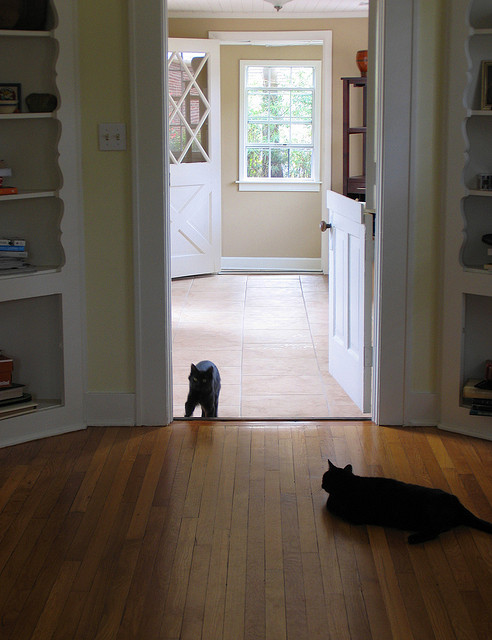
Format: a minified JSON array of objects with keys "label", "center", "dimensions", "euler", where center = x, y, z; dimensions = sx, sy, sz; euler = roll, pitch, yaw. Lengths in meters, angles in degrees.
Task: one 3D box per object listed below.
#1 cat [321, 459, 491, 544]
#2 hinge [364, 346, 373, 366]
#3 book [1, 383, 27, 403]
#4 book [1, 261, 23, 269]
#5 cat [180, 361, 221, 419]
[{"label":"cat","center":[0.476,0.541,1.718],"dimensions":[0.523,0.232,0.194],"euler":[6,29,40]},{"label":"hinge","center":[0.625,0.193,2.747],"dimensions":[0.037,0.099,0.038],"euler":[1,6,10]},{"label":"book","center":[-1.071,0.330,2.463],"dimensions":[0.108,0.068,0.062],"euler":[-3,7,-23]},{"label":"book","center":[-1.034,-0.237,2.355],"dimensions":[0.013,0.033,0.091],"euler":[5,9,43]},{"label":"cat","center":[-0.237,0.408,2.979],"dimensions":[0.158,0.300,0.547],"euler":[4,-6,5]}]
